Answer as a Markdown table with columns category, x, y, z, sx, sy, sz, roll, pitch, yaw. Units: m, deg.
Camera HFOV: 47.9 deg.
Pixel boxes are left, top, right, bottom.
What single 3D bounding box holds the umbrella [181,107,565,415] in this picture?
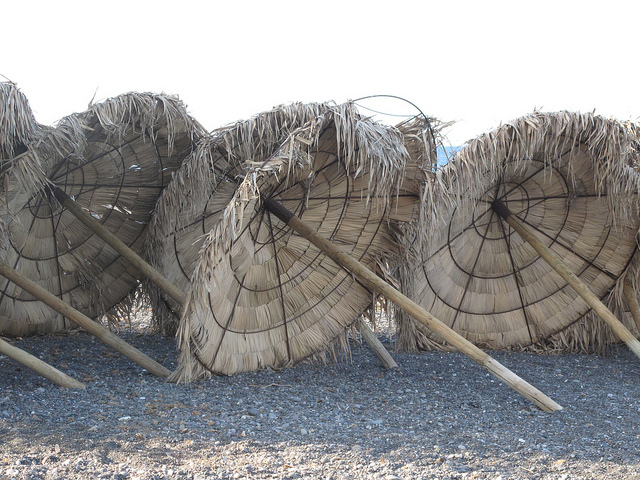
| category | x | y | z | sx | sy | sz | roll | pitch | yaw |
| --- | --- | --- | --- | --- | --- | --- | --- | --- | --- |
| umbrella | 0.106 | -0.032 | 5.894 | 1.590 | 1.956 | 2.686 | 6 | 42 | -22 |

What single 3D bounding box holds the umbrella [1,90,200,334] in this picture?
| category | x | y | z | sx | sy | sz | roll | pitch | yaw |
| --- | --- | --- | --- | --- | --- | --- | --- | --- | --- |
| umbrella | -1.858 | -0.248 | 6.091 | 0.808 | 1.600 | 1.695 | 27 | 13 | 37 |
